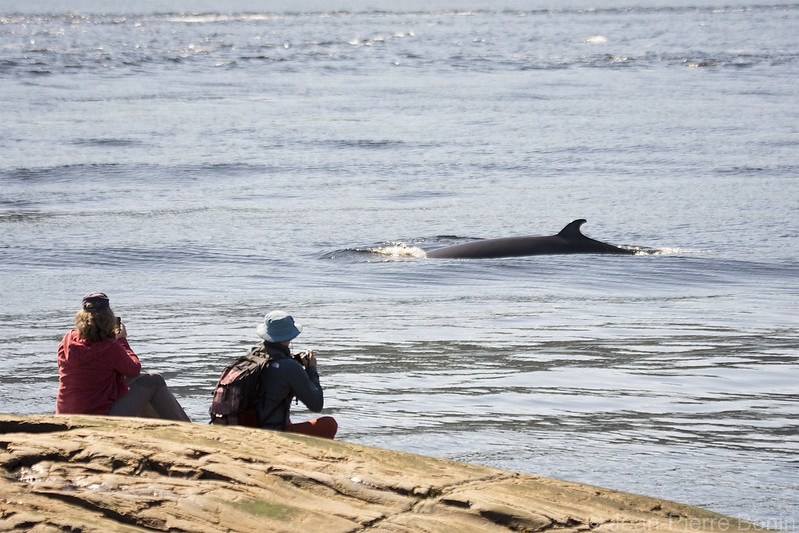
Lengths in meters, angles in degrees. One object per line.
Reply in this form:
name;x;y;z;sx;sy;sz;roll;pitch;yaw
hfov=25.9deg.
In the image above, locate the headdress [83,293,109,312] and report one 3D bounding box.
headdress;-13.897;1.586;79.443;1.419;0.484;0.765;-1;11;3
